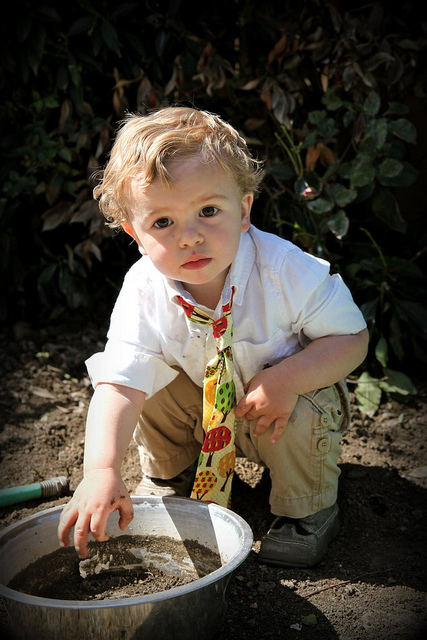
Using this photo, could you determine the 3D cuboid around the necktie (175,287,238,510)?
[{"bbox_3d":[-0.006,0.189,1.381,0.117,0.483,0.135,-4,16,12],"label":"necktie"}]
